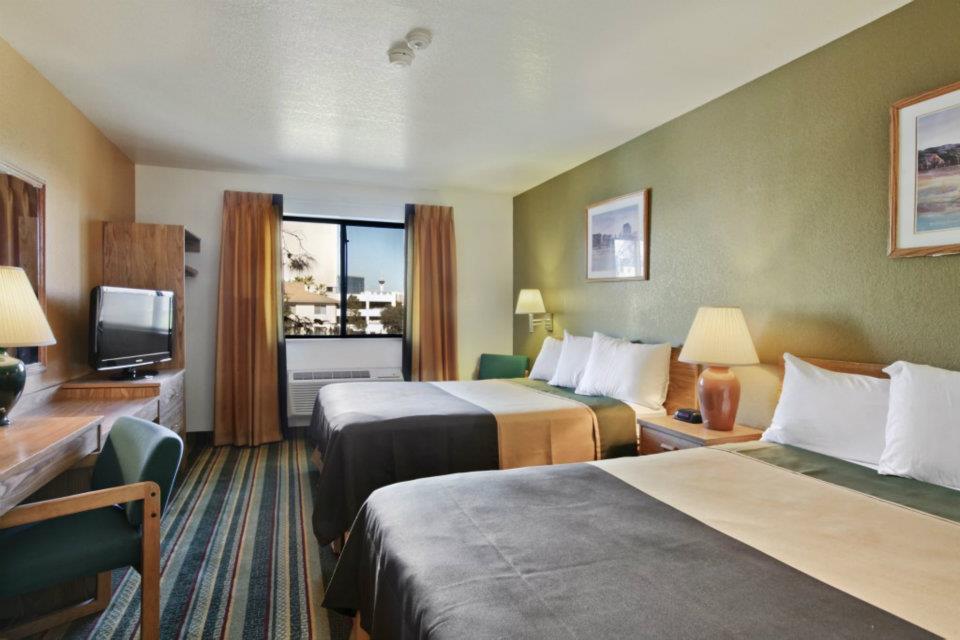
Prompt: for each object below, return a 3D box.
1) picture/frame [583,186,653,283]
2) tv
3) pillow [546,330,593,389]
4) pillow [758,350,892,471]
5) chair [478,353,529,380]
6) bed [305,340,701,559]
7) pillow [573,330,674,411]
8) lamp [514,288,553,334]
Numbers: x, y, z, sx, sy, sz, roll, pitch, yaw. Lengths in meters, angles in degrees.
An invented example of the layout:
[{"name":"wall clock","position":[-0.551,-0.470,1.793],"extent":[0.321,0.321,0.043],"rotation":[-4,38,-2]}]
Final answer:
[{"name":"picture/frame","position":[1.200,-0.702,5.444],"extent":[0.031,0.708,0.842],"rotation":[-4,5,-26]},{"name":"tv","position":[-2.728,0.094,4.710],"extent":[0.249,0.702,0.785],"rotation":[0,-1,8]},{"name":"pillow","position":[0.787,0.367,5.282],"extent":[0.128,0.405,0.431],"rotation":[26,-6,-18]},{"name":"pillow","position":[1.991,0.519,3.463],"extent":[0.195,0.420,0.556],"rotation":[28,-14,-34]},{"name":"chair","position":[0.211,0.472,6.141],"extent":[0.319,0.386,0.314],"rotation":[27,-16,-24]},{"name":"bed","position":[0.000,0.745,4.586],"extent":[2.119,1.074,1.497],"rotation":[-2,3,-19]},{"name":"pillow","position":[1.161,0.407,4.700],"extent":[0.588,0.554,0.173],"rotation":[5,-25,46]},{"name":"lamp","position":[0.568,-0.093,6.514],"extent":[0.452,0.518,0.418],"rotation":[2,-3,-25]}]
